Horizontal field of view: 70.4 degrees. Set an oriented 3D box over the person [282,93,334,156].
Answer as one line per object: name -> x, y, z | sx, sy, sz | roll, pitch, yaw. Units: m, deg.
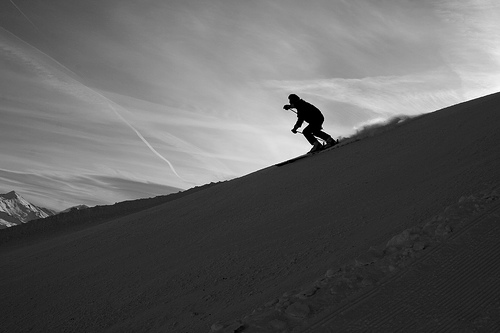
person -> 2.052, -1.517, 12.370 | 1.366, 1.834, 0.589 | -15, 4, -27
